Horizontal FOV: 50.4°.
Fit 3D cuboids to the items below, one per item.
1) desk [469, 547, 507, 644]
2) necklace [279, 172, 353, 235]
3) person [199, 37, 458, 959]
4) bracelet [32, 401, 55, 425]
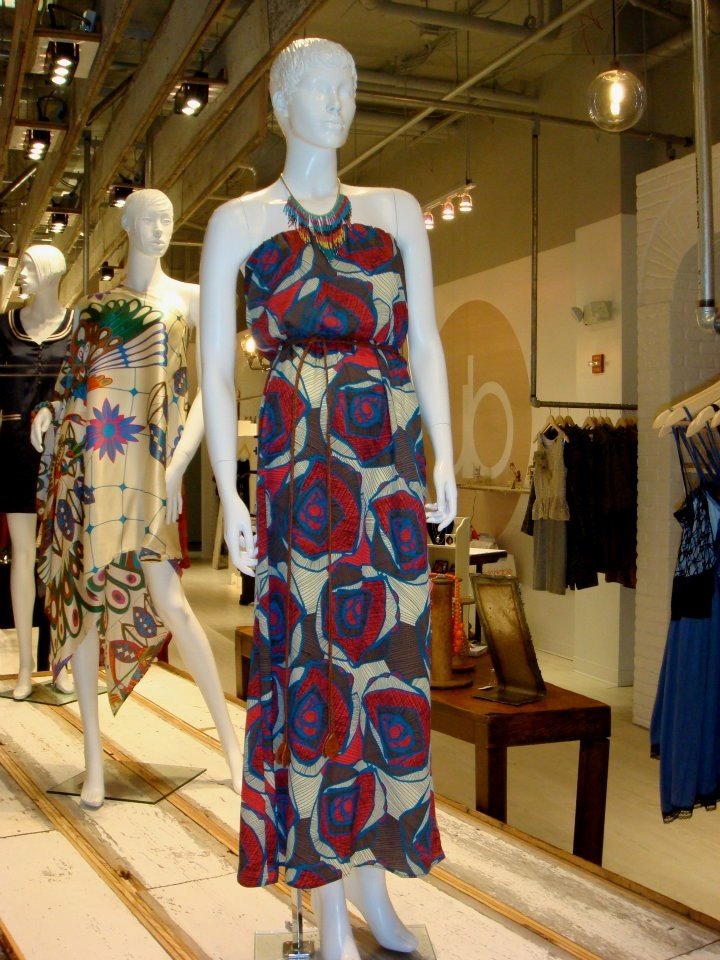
[{"bbox_3d":[0.926,0.856,5.751,0.279,0.468,0.436,12,-17,9],"label":"desk"},{"bbox_3d":[-0.054,-0.362,1.041,0.054,0.083,0.036,-8,-32,-9],"label":"necklace"},{"bbox_3d":[-0.036,0.016,1.080,0.374,1.304,0.195,0,-4,-15],"label":"person"},{"bbox_3d":[-0.984,-0.216,2.379,0.025,0.080,0.049,18,20,39],"label":"bracelet"}]
